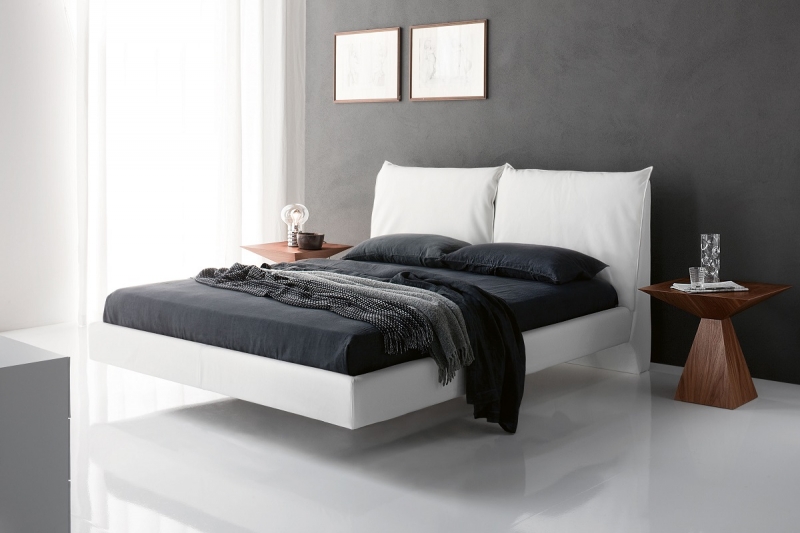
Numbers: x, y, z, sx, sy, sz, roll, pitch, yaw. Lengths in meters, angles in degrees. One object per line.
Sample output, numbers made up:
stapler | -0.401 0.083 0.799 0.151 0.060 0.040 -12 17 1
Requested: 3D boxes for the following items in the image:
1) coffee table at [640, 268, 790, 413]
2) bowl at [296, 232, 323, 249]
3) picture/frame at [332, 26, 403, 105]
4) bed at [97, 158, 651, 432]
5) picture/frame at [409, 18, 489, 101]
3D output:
coffee table | 2.113 0.514 3.873 0.915 0.665 0.953 3 -4 38
bowl | -0.820 -0.228 5.454 0.164 0.088 0.169 1 9 0
picture/frame | -0.286 -1.910 5.710 0.815 0.670 0.087 4 6 36
bed | -0.125 0.013 4.325 3.186 1.561 2.972 -7 9 -39
picture/frame | 0.455 -1.819 5.280 0.800 0.661 0.035 5 10 33
